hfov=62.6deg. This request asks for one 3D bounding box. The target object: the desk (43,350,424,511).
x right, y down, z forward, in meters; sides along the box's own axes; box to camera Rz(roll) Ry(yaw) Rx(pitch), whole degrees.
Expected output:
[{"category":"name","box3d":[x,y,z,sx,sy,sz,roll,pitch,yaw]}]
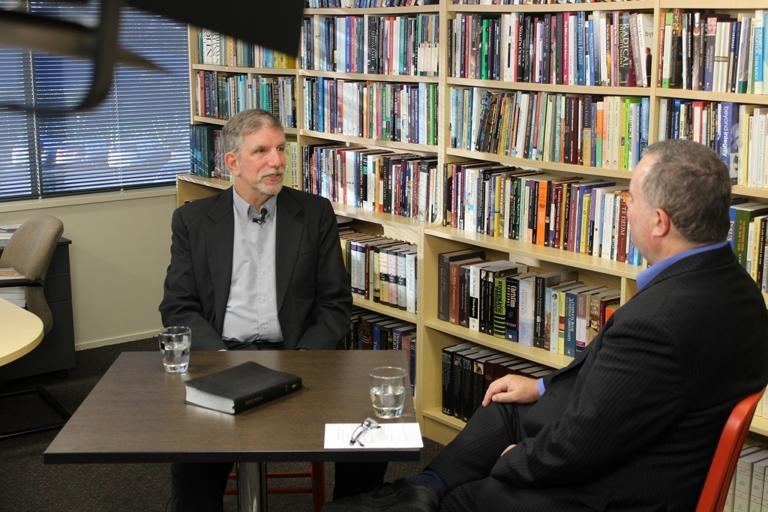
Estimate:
[{"category":"desk","box3d":[-0.468,0.454,1.935,0.735,0.423,0.716,-1,10,-5]}]

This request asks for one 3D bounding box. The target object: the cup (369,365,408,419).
[{"category":"cup","box3d":[0.012,0.384,1.798,0.124,0.137,0.127,0,8,0]}]

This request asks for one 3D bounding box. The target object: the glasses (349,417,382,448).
[{"category":"glasses","box3d":[-0.051,0.475,1.684,0.044,0.034,0.068,-15,16,31]}]
